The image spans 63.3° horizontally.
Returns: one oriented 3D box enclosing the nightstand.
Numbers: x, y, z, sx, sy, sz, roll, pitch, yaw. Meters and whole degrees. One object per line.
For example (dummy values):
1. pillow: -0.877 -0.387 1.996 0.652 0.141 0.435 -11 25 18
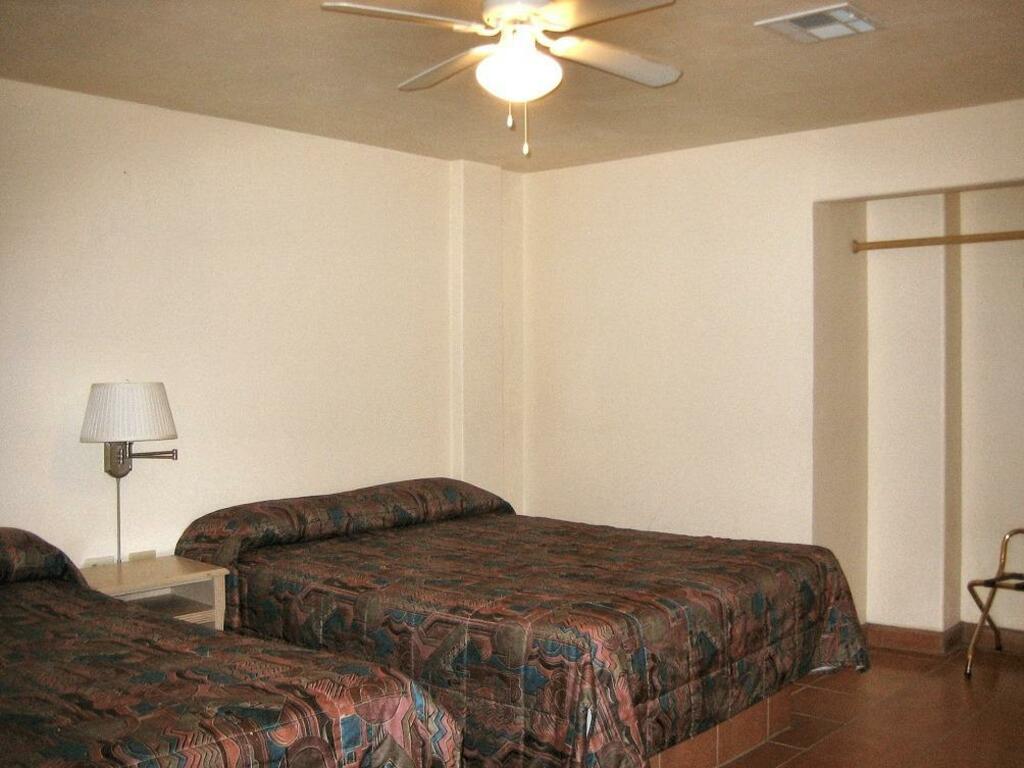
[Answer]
1. nightstand: -1.617 0.949 3.933 0.457 0.215 0.463 10 9 36
